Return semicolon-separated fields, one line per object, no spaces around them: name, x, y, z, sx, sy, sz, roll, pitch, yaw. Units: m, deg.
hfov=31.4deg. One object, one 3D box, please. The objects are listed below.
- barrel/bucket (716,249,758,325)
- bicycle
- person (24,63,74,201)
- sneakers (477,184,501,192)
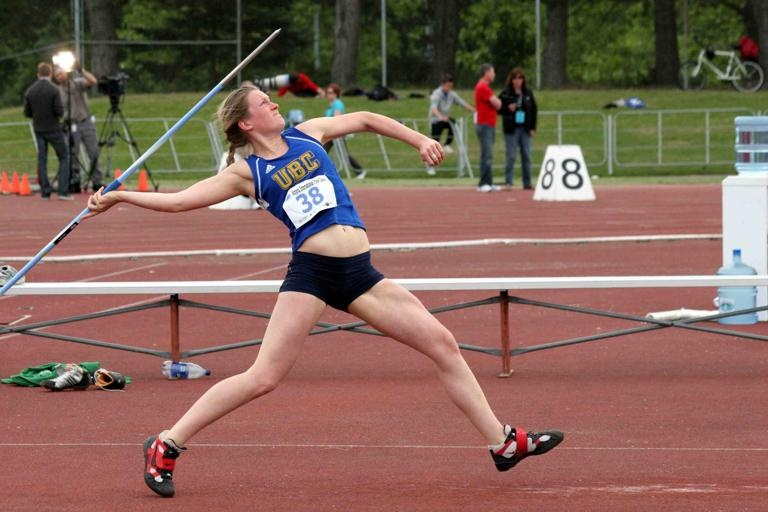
barrel/bucket;3.876;0.321;14.993;0.448;0.814;0.795;-1;7;12
bicycle;7.122;-3.915;28.693;2.021;0.858;0.822;2;-11;4
person;-6.253;-2.300;25.422;0.750;2.510;1.164;-4;8;-11
sneakers;1.996;-1.307;26.063;0.350;0.097;0.163;0;3;10
